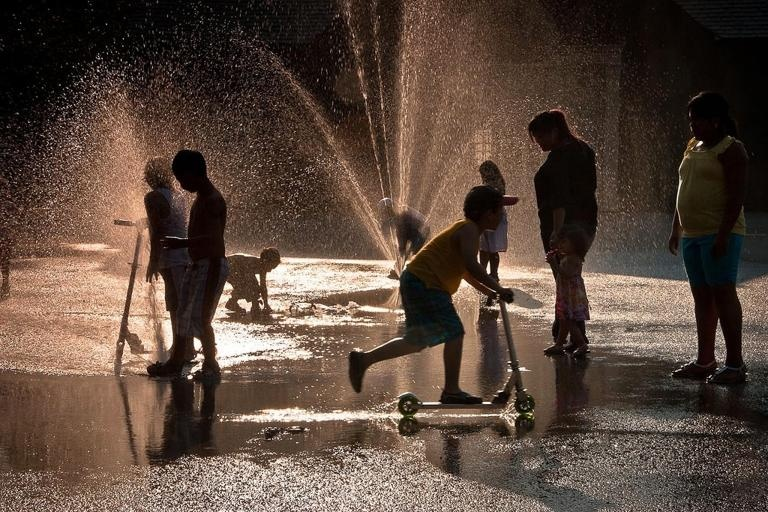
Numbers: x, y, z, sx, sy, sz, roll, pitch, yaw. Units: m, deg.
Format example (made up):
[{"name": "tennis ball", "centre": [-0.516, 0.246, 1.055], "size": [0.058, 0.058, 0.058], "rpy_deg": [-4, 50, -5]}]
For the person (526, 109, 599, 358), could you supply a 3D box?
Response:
[{"name": "person", "centre": [1.819, -0.721, 9.593], "size": [0.690, 1.494, 0.543], "rpy_deg": [1, 10, 9]}]

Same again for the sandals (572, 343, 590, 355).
[{"name": "sandals", "centre": [1.971, 0.948, 9.361], "size": [0.205, 0.081, 0.076], "rpy_deg": [-26, 25, 36]}]

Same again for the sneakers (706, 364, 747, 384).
[{"name": "sneakers", "centre": [3.091, 1.068, 8.523], "size": [0.370, 0.138, 0.147], "rpy_deg": [-2, 0, -1]}]

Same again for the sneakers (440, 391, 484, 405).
[{"name": "sneakers", "centre": [0.643, 1.163, 7.806], "size": [0.362, 0.124, 0.126], "rpy_deg": [0, -2, -3]}]

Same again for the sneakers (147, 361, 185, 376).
[{"name": "sneakers", "centre": [-2.010, 1.052, 8.760], "size": [0.348, 0.141, 0.120], "rpy_deg": [4, 37, -7]}]

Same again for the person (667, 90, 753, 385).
[{"name": "person", "centre": [2.998, -0.194, 8.648], "size": [0.729, 2.574, 0.844], "rpy_deg": [2, 10, 16]}]

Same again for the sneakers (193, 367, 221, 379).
[{"name": "sneakers", "centre": [-1.636, 1.091, 8.686], "size": [0.201, 0.084, 0.113], "rpy_deg": [-4, 4, 12]}]

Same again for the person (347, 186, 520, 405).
[{"name": "person", "centre": [0.437, 0.316, 7.851], "size": [1.280, 1.752, 0.513], "rpy_deg": [1, 10, 6]}]

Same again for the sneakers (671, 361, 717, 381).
[{"name": "sneakers", "centre": [2.845, 1.054, 8.635], "size": [0.417, 0.157, 0.163], "rpy_deg": [1, -4, 3]}]

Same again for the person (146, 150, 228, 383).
[{"name": "person", "centre": [-1.797, 0.067, 8.731], "size": [0.647, 2.048, 0.524], "rpy_deg": [-1, 10, -3]}]

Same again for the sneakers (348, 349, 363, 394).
[{"name": "sneakers", "centre": [-0.224, 0.977, 7.967], "size": [0.132, 0.336, 0.157], "rpy_deg": [-6, -9, 6]}]

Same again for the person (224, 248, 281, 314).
[{"name": "person", "centre": [-1.627, 0.324, 11.673], "size": [0.655, 0.802, 0.669], "rpy_deg": [-2, 10, -10]}]
